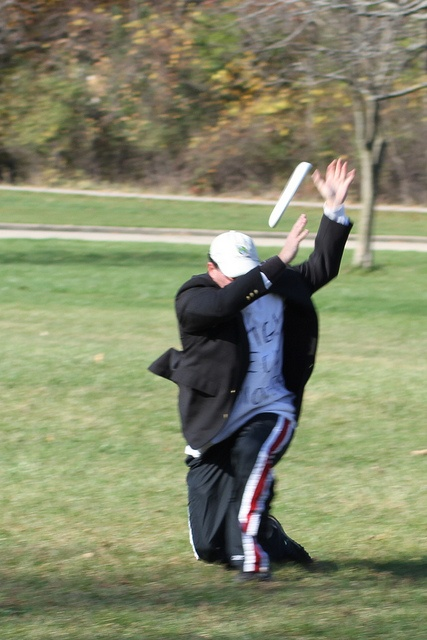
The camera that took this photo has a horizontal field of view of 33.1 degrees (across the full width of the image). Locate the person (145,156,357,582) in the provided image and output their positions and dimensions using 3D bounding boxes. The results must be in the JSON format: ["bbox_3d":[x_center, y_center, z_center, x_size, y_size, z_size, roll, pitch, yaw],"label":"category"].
[{"bbox_3d":[0.168,0.190,3.158,0.927,1.879,0.785,-6,-6,23],"label":"person"}]

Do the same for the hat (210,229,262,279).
[{"bbox_3d":[0.105,-0.302,3.055,0.235,0.143,0.294,-14,27,-14],"label":"hat"}]

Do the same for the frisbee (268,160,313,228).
[{"bbox_3d":[0.326,-0.548,2.994,0.083,0.309,0.188,38,-8,-6],"label":"frisbee"}]
